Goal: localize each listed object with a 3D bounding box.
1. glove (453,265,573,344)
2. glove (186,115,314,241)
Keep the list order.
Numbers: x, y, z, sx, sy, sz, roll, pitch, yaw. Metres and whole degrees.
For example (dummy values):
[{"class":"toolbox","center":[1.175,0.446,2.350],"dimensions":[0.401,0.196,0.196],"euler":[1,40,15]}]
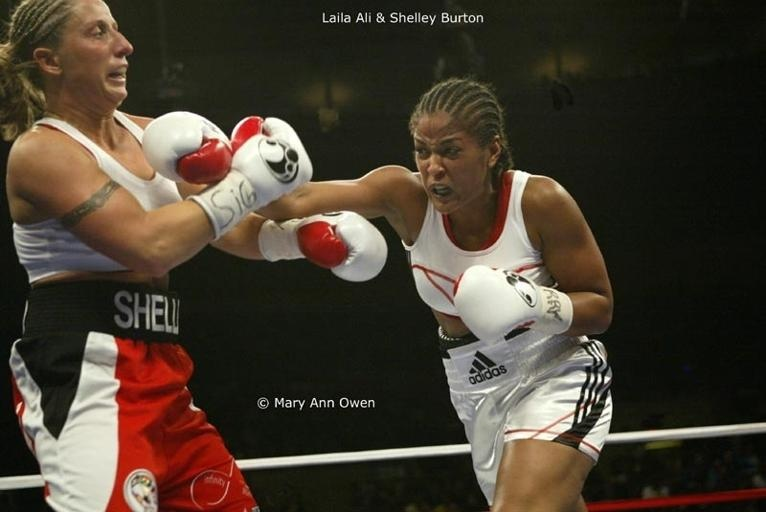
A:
[{"class":"glove","center":[0.522,0.198,3.079],"dimensions":[0.410,0.163,0.280],"euler":[2,46,-31]},{"class":"glove","center":[-0.511,-0.285,3.084],"dimensions":[0.477,0.324,0.191],"euler":[-38,-8,-14]}]
